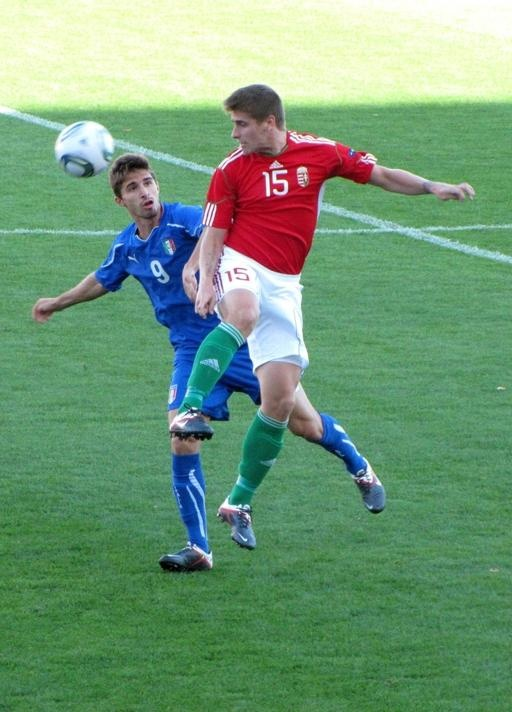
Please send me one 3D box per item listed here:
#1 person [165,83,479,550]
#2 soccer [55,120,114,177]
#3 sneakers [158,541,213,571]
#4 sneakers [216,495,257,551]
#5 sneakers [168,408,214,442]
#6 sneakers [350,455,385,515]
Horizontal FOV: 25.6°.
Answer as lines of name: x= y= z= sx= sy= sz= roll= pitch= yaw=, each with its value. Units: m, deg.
person: x=0.104 y=-0.127 z=4.049 sx=0.822 sy=1.643 sz=0.879 roll=14 pitch=16 yaw=-5
soccer: x=-0.813 y=-0.978 z=5.374 sx=0.323 sy=0.245 sz=0.256 roll=8 pitch=18 yaw=-5
sneakers: x=-0.226 y=0.718 z=3.939 sx=0.225 sy=0.079 sz=0.073 roll=5 pitch=-2 yaw=-25
sneakers: x=-0.052 y=0.602 z=4.007 sx=0.084 sy=0.103 sz=0.229 roll=19 pitch=16 yaw=-46
sneakers: x=-0.201 y=0.231 z=3.721 sx=0.081 sy=0.078 sz=0.177 roll=4 pitch=-8 yaw=-30
sneakers: x=0.452 y=0.513 z=4.377 sx=0.093 sy=0.086 sz=0.207 roll=39 pitch=19 yaw=-46
